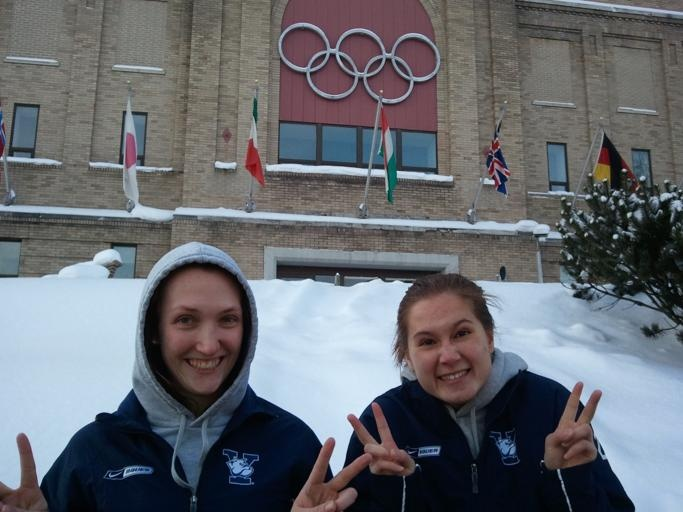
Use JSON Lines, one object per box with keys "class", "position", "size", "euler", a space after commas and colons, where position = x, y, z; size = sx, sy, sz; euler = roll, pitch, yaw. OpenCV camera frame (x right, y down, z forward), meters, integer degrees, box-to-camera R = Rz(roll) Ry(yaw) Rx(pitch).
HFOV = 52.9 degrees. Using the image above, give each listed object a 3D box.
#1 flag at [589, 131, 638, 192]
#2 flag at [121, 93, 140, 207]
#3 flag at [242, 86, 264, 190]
{"class": "flag", "position": [7.008, -2.553, 17.867], "size": [1.131, 2.194, 0.182], "euler": [7, -30, -1]}
{"class": "flag", "position": [-5.602, -3.057, 18.226], "size": [0.462, 3.766, 2.999], "euler": [2, -6, -18]}
{"class": "flag", "position": [-2.286, -3.318, 18.184], "size": [0.526, 3.099, 2.017], "euler": [1, -6, -8]}
